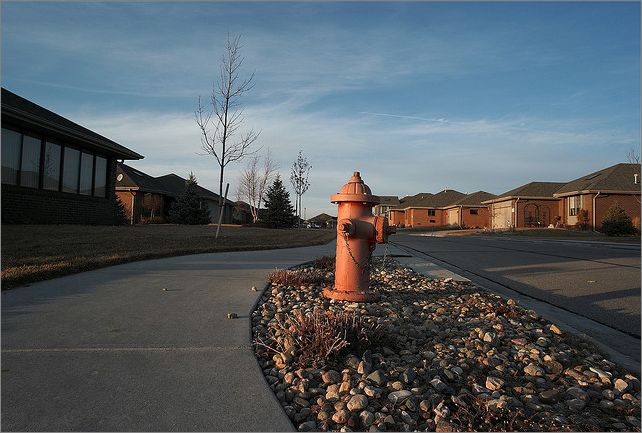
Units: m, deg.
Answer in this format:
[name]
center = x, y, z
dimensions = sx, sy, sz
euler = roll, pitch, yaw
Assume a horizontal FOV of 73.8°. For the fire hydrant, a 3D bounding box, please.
[fire hydrant]
center = 0.566, 0.266, 6.452
dimensions = 1.014, 2.009, 0.692
euler = 0, 0, 12
